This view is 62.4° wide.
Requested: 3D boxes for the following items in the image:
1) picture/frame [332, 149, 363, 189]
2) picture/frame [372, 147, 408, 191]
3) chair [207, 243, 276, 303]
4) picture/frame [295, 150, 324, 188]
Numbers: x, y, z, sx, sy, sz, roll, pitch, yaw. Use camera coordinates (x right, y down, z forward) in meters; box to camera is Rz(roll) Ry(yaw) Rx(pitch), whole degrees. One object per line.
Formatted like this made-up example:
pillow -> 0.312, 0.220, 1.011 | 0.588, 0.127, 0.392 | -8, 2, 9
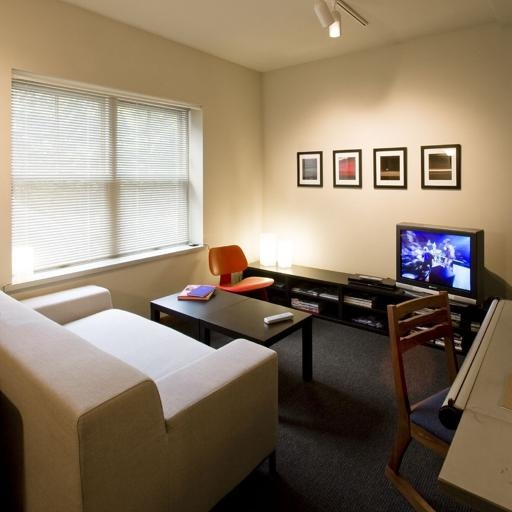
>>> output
picture/frame -> 0.930, -0.888, 4.344 | 0.278, 0.397, 0.012 | 0, -15, 9
picture/frame -> 1.284, -0.835, 4.030 | 0.359, 0.494, 0.043 | 5, 8, 41
chair -> -0.098, 0.136, 4.273 | 0.496, 0.763, 0.570 | -8, 9, -40
picture/frame -> 0.588, -0.952, 4.651 | 0.291, 0.402, 0.020 | 1, 27, 11
